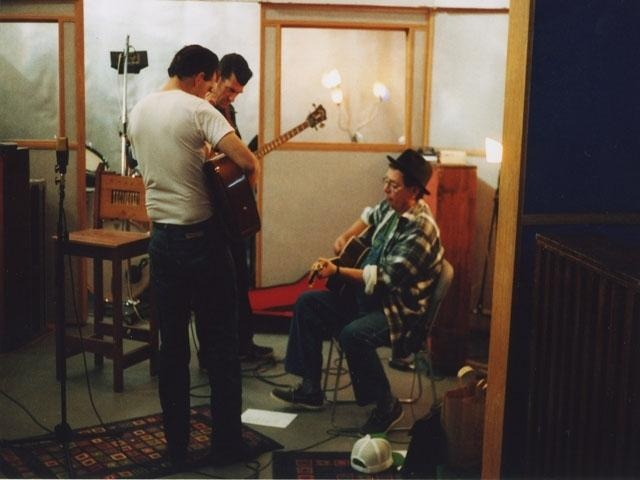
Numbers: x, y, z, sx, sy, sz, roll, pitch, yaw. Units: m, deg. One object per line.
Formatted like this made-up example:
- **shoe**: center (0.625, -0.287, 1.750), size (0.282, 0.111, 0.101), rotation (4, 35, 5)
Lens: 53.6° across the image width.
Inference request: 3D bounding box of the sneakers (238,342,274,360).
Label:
- **sneakers**: center (-0.432, 0.744, 4.328), size (0.258, 0.112, 0.092), rotation (-5, 18, -25)

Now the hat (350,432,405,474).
- **hat**: center (0.296, 1.080, 3.252), size (0.232, 0.146, 0.154), rotation (-11, 13, -41)

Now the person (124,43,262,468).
- **person**: center (-0.637, 0.086, 3.173), size (0.623, 2.051, 0.375), rotation (1, 10, -7)

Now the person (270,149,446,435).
- **person**: center (0.268, 0.241, 3.716), size (0.888, 1.540, 0.664), rotation (5, 11, 17)

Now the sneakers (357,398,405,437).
- **sneakers**: center (0.346, 0.984, 3.557), size (0.149, 0.175, 0.260), rotation (11, 14, 37)

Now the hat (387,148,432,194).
- **hat**: center (0.506, -0.383, 3.610), size (0.292, 0.256, 0.191), rotation (-1, 11, -13)

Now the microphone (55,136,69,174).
- **microphone**: center (-1.307, -0.419, 3.207), size (0.060, 0.200, 0.279), rotation (-2, 13, -23)
